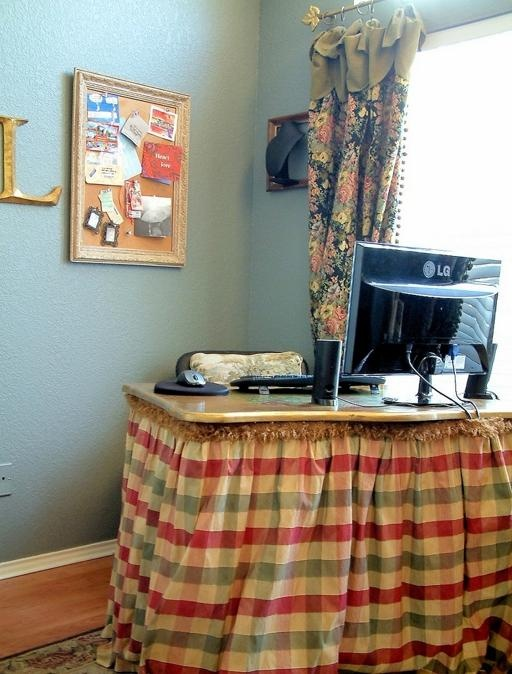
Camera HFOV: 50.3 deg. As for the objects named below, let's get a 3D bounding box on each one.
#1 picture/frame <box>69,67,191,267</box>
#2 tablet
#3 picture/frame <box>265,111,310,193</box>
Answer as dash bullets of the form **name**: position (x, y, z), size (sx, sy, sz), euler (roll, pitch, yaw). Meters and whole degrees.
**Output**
- **picture/frame**: position (-0.542, -0.723, 2.406), size (0.562, 0.663, 0.154), euler (-3, -2, -44)
- **tablet**: position (0.494, -0.025, 1.543), size (0.513, 0.405, 0.157), euler (2, 3, -20)
- **picture/frame**: position (0.118, -0.939, 2.757), size (0.180, 0.361, 0.344), euler (-4, -2, -37)
